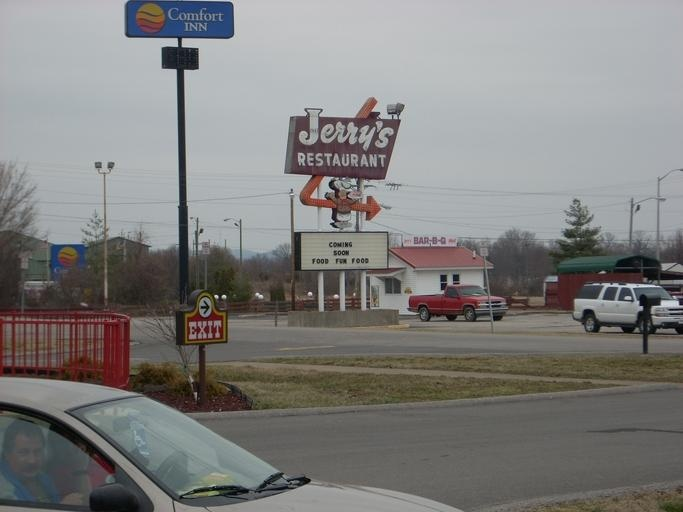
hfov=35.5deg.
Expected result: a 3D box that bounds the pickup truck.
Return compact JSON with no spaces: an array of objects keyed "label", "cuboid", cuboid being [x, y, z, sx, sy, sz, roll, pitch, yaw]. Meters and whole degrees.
[{"label":"pickup truck","cuboid":[5.486,2.290,50.460,1.953,1.413,3.525,1,-4,-40]}]
